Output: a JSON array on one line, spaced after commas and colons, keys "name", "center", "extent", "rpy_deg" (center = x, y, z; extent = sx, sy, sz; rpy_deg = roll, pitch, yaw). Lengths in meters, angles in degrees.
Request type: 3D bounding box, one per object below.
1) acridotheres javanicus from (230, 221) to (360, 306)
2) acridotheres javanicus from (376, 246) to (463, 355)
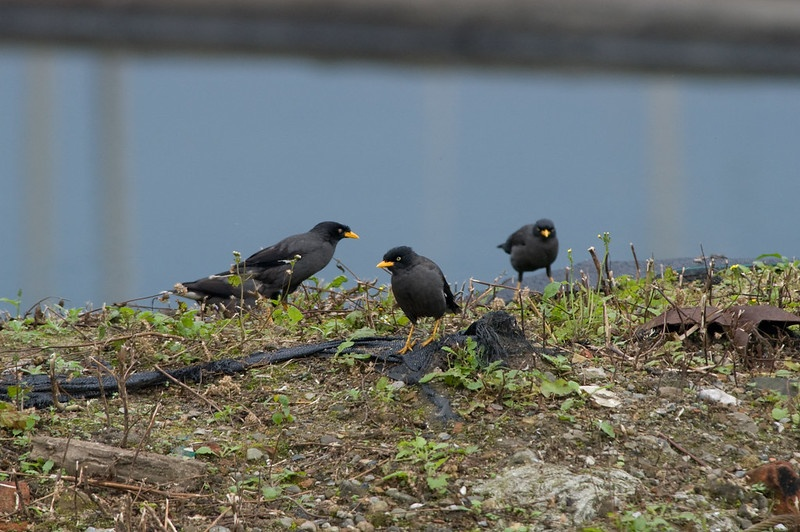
[{"name": "acridotheres javanicus", "center": [-1.177, -0.071, 11.864], "extent": [1.233, 0.892, 0.593], "rpy_deg": [-1, -9, -17]}, {"name": "acridotheres javanicus", "center": [0.142, 0.296, 9.137], "extent": [0.588, 0.917, 0.648], "rpy_deg": [-4, -8, 7]}]
